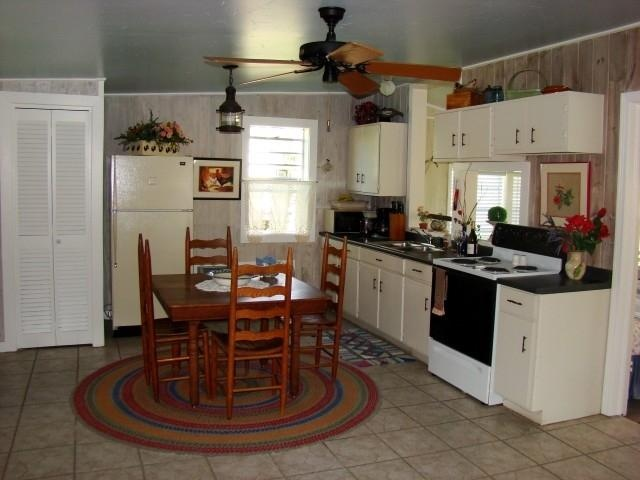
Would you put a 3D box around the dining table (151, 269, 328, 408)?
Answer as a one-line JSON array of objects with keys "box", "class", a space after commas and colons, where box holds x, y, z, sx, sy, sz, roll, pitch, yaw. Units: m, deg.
[{"box": [-0.790, 0.617, 4.269, 1.047, 0.670, 1.181, -2, 14, -16], "class": "dining table"}]

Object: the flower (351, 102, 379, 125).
[{"box": [0.566, -1.634, 6.576, 0.333, 0.312, 0.330, 2, 5, 32], "class": "flower"}]

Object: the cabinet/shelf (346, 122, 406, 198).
[{"box": [0.717, -1.011, 6.310, 0.415, 0.868, 0.973, -3, 8, -16], "class": "cabinet/shelf"}]

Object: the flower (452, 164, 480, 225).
[{"box": [1.470, -0.492, 5.266, 0.132, 0.616, 0.387, -3, 12, -21], "class": "flower"}]

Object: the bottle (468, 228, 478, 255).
[{"box": [1.486, 0.009, 4.976, 0.103, 0.261, 0.154, 5, 12, 16], "class": "bottle"}]

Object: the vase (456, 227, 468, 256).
[{"box": [1.402, 0.007, 5.026, 0.096, 0.259, 0.203, 4, 12, 14], "class": "vase"}]

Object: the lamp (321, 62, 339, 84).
[{"box": [0.071, -1.099, 3.343, 0.099, 0.120, 0.203, 2, 11, 2], "class": "lamp"}]

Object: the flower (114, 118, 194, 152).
[{"box": [-1.887, -1.159, 5.729, 0.627, 0.298, 0.605, -1, 8, -8], "class": "flower"}]

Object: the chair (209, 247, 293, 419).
[{"box": [-0.599, 0.620, 4.236, 0.719, 1.374, 1.307, 1, 11, -4], "class": "chair"}]

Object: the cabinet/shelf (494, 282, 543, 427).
[{"box": [1.508, 0.814, 3.944, 0.138, 0.891, 0.457, -3, 13, -22], "class": "cabinet/shelf"}]

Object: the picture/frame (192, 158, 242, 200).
[{"box": [-1.319, -0.782, 6.376, 0.655, 0.524, 0.053, 1, 0, -24], "class": "picture/frame"}]

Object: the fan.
[{"box": [0.145, -1.131, 3.324, 0.866, 0.285, 0.981, 2, 4, 37], "class": "fan"}]

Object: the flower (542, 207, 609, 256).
[{"box": [2.089, -0.095, 4.132, 0.359, 0.297, 0.347, 11, 12, 17], "class": "flower"}]
